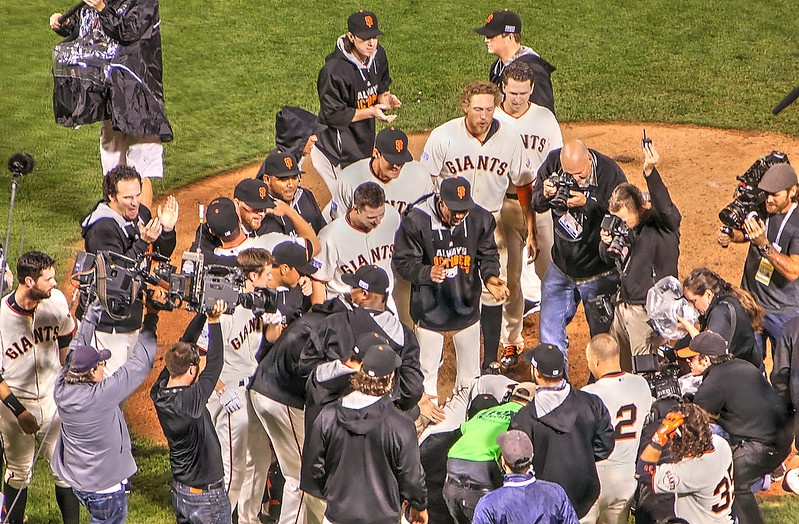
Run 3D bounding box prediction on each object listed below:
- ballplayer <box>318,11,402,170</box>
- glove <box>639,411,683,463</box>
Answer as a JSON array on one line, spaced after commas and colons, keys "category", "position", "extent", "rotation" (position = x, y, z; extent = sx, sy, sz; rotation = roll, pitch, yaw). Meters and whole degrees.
[{"category": "ballplayer", "position": [-0.709, -2.877, 15.594], "extent": [1.297, 2.555, 0.758], "rotation": [-1, 12, -8]}, {"category": "glove", "position": [3.150, 2.096, 11.283], "extent": [0.248, 0.854, 0.261], "rotation": [40, 32, 23]}]
